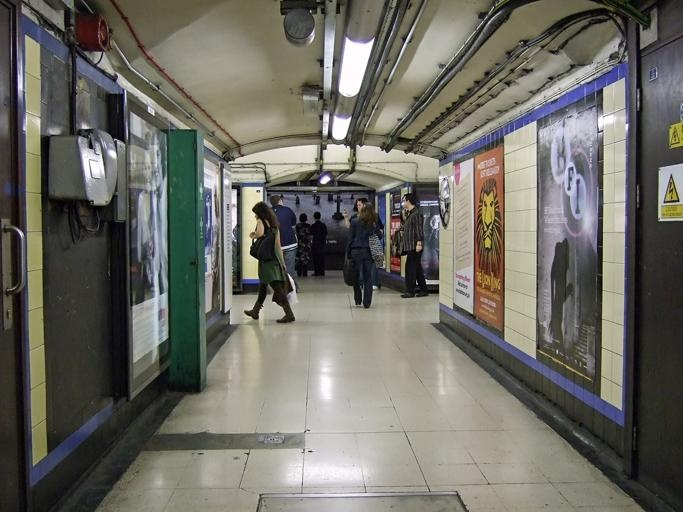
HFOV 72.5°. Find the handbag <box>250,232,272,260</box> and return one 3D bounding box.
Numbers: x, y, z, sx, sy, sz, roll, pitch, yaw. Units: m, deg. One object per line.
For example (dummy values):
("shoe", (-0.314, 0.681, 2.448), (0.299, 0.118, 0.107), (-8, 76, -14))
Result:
("handbag", (-1.176, -0.122, 6.890), (0.399, 0.410, 0.162), (2, 4, 24))

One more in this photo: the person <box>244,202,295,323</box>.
("person", (-1.098, 0.132, 7.195), (0.726, 1.910, 0.785), (-1, 4, -13))

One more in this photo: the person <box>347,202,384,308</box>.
("person", (0.419, 0.006, 8.719), (0.618, 1.954, 0.454), (0, 4, 3))
